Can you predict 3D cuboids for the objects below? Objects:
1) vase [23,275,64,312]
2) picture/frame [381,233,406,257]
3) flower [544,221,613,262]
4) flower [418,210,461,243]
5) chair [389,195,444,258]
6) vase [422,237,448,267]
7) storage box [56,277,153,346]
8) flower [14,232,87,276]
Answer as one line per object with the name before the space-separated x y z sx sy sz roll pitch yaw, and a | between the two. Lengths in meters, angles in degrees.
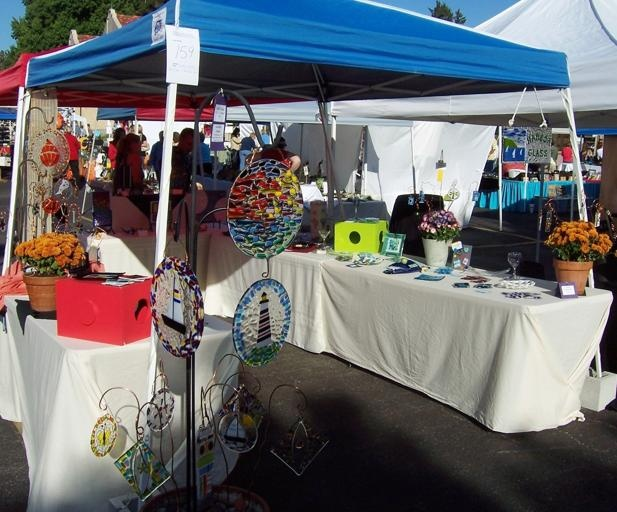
vase | -1.278 0.163 2.221 0.201 0.189 0.205 -4 11 -37
picture/frame | 0.684 -0.091 3.727 0.041 0.185 0.172 7 1 -37
flower | 1.625 -0.090 2.745 0.266 0.228 0.292 5 14 28
flower | 0.969 -0.258 3.362 0.213 0.205 0.253 15 23 36
chair | 1.144 -0.375 5.081 0.573 0.798 0.590 4 11 26
vase | 0.954 -0.029 3.492 0.175 0.193 0.181 0 12 -12
storage box | -0.907 0.229 2.036 0.356 0.272 0.208 2 3 17
flower | -1.250 -0.010 2.232 0.300 0.187 0.204 -1 10 -7
